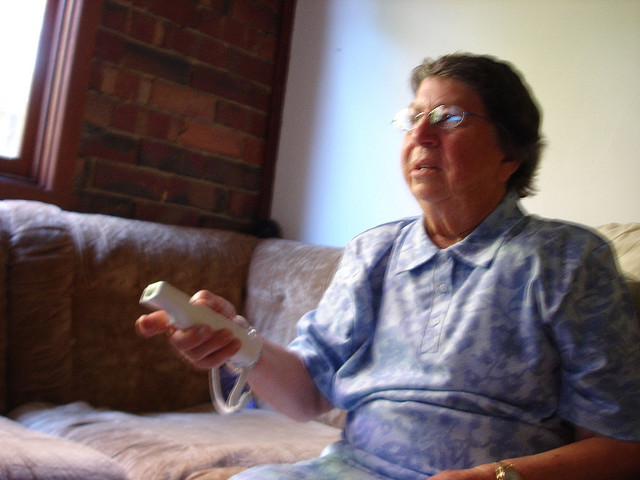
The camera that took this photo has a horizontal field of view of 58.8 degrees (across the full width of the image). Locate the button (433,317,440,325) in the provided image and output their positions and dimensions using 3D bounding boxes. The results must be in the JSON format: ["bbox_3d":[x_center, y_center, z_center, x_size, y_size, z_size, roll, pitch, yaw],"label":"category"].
[{"bbox_3d":[0.249,0.173,1.211,0.003,0.013,0.014,41,-9,-36],"label":"button"}]

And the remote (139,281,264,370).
[{"bbox_3d":[-0.226,0.185,1.171,0.087,0.182,0.299,3,-5,39],"label":"remote"}]

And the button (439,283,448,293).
[{"bbox_3d":[0.268,0.106,1.237,0.018,0.018,0.004,-7,-22,32],"label":"button"}]

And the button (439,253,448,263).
[{"bbox_3d":[0.274,0.041,1.258,0.005,0.017,0.019,14,8,-41],"label":"button"}]
